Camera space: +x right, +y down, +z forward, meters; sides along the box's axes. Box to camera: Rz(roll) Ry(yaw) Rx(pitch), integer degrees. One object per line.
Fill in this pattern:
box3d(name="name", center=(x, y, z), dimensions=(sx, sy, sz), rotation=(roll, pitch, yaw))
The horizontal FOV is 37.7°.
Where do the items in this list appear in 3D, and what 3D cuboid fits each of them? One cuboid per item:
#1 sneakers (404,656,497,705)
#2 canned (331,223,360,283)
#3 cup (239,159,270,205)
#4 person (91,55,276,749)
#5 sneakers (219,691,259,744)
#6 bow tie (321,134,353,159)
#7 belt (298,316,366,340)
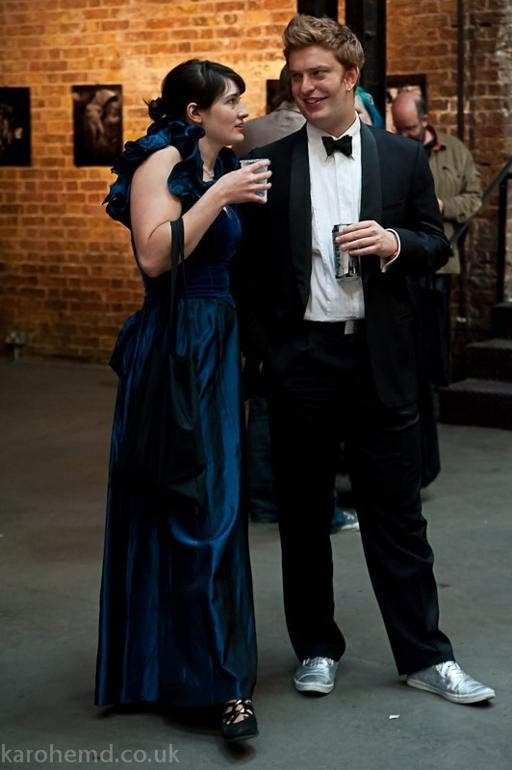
box3d(name="sneakers", center=(0.482, 0.717, 1.864), dimensions=(0.078, 0.079, 0.206), rotation=(-6, 2, -43))
box3d(name="canned", center=(0.189, -0.277, 1.564), dimensions=(0.055, 0.109, 0.083), rotation=(-1, 2, 7))
box3d(name="cup", center=(-0.002, -0.445, 1.634), dimensions=(0.059, 0.108, 0.135), rotation=(-1, 2, -1))
box3d(name="person", center=(-0.179, 0.070, 1.688), dimensions=(0.406, 1.353, 0.349), rotation=(-1, 2, -7))
box3d(name="sneakers", center=(-0.038, 0.711, 1.577), dimensions=(0.054, 0.057, 0.137), rotation=(-5, -14, -1))
box3d(name="bow tie", center=(0.179, -0.526, 1.655), dimensions=(0.065, 0.050, 0.036), rotation=(-1, 2, 4))
box3d(name="belt", center=(0.171, -0.126, 1.690), dimensions=(0.136, 0.038, 0.032), rotation=(0, 2, 21))
